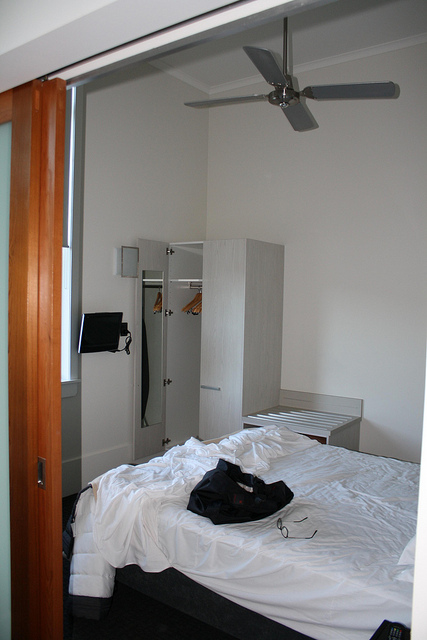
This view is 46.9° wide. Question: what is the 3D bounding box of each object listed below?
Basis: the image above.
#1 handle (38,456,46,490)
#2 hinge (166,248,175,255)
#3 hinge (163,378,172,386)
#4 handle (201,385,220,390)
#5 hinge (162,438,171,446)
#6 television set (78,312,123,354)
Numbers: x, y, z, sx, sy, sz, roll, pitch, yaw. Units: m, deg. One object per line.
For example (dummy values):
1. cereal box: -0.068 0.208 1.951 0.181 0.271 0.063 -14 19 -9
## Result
1. handle: -0.479 0.429 1.379 0.008 0.085 0.041 1 5 -43
2. hinge: -0.400 -0.632 4.548 0.048 0.056 0.013 1 -11 -42
3. hinge: -0.421 0.583 4.606 0.023 0.066 0.169 6 4 22
4. handle: -0.030 0.588 4.240 0.198 0.042 0.005 10 6 40
5. hinge: -0.435 1.143 4.616 0.009 0.061 0.134 6 3 28
6. television set: -0.873 0.093 3.756 0.036 0.230 0.292 12 6 22
